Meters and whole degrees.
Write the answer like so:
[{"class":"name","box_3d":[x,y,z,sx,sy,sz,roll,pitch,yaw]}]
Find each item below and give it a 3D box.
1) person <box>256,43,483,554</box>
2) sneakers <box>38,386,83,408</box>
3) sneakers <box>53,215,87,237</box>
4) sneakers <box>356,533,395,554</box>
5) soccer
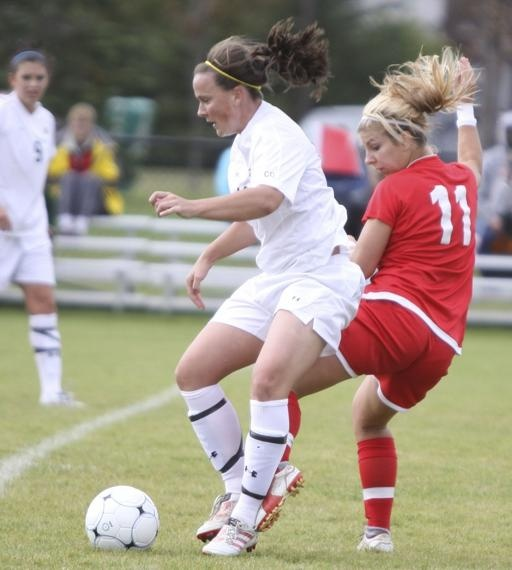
[{"class":"person","box_3d":[0.546,0.039,4.383,0.562,1.977,1.163,8,12,32]},{"class":"sneakers","box_3d":[-0.943,0.566,5.404,0.208,0.087,0.102,0,10,-15]},{"class":"sneakers","box_3d":[-1.401,-0.454,8.521,0.179,0.125,0.169,2,-4,-36]},{"class":"sneakers","box_3d":[0.475,1.007,4.297,0.061,0.061,0.145,3,-5,-20]},{"class":"soccer","box_3d":[-0.506,0.888,4.269,0.237,0.218,0.230,1,16,-41]}]
